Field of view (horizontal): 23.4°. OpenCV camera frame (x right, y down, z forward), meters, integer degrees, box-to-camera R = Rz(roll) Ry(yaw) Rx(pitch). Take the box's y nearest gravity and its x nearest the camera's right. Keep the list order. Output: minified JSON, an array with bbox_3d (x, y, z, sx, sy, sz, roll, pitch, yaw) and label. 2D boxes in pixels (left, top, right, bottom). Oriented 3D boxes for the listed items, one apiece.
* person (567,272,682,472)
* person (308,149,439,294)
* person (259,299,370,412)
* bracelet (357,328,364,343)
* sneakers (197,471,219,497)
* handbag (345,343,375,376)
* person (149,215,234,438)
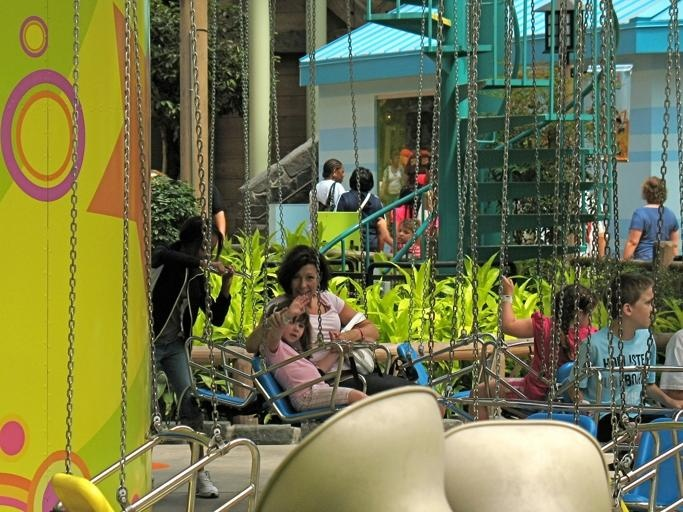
[{"bbox_3d":[1.507,0.565,8.765,0.593,1.002,1.541,1,2,8],"label":"person"},{"bbox_3d":[0.364,-0.317,13.546,0.760,0.979,1.022,-5,7,-44],"label":"person"},{"bbox_3d":[-0.148,0.537,9.239,0.621,0.711,0.573,-9,-16,11],"label":"person"},{"bbox_3d":[0.111,0.440,9.560,0.015,0.055,0.049,-11,-34,8],"label":"bracelet"},{"bbox_3d":[-0.751,1.283,9.210,0.090,0.109,0.245,2,-3,-32],"label":"sneakers"},{"bbox_3d":[0.107,0.586,9.269,0.177,0.174,0.135,-2,2,0],"label":"handbag"},{"bbox_3d":[-0.838,0.385,9.265,0.448,1.257,0.809,0,2,-4],"label":"person"}]
